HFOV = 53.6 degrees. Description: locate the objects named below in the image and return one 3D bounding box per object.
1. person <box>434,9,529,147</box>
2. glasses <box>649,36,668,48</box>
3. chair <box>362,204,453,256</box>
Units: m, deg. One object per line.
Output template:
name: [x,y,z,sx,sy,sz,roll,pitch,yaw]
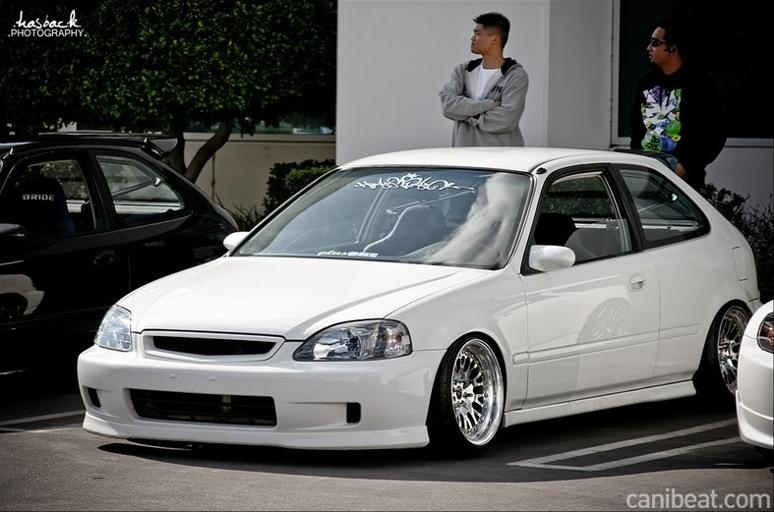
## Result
person: [1.089,-1.977,8.596,0.933,1.519,0.550,1,1,9]
glasses: [3.015,-2.399,8.471,0.140,0.046,0.138,7,1,-4]
chair: [0.135,-0.152,5.375,0.357,0.474,0.471,4,-8,43]
